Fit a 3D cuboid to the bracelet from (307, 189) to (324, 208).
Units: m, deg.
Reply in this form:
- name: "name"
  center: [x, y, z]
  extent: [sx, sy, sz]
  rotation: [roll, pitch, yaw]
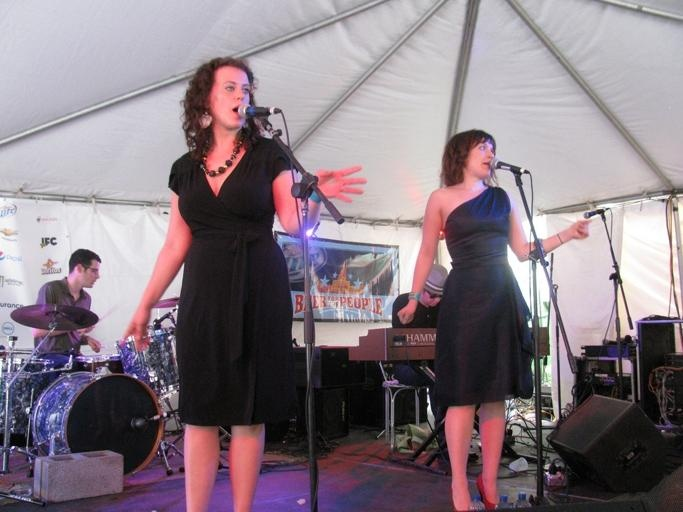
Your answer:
- name: "bracelet"
  center: [-0.150, -0.320, 3.409]
  extent: [0.066, 0.055, 0.069]
  rotation: [-17, -43, 1]

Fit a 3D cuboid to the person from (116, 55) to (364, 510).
- name: "person"
  center: [-0.655, 0.099, 3.516]
  extent: [0.905, 2.585, 0.262]
  rotation: [-2, -8, 8]

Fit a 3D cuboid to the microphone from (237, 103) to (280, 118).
- name: "microphone"
  center: [-0.484, -0.824, 3.593]
  extent: [0.297, 0.092, 0.085]
  rotation: [7, -40, 31]

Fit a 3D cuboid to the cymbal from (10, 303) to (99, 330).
- name: "cymbal"
  center: [-2.701, 0.584, 5.879]
  extent: [0.433, 0.107, 0.444]
  rotation: [-15, -27, 28]

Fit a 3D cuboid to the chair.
- name: "chair"
  center: [0.704, 1.627, 7.203]
  extent: [0.413, 0.951, 0.499]
  rotation: [-6, -1, -8]

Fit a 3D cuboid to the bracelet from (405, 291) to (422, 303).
- name: "bracelet"
  center: [0.516, 0.288, 4.403]
  extent: [0.073, 0.047, 0.071]
  rotation: [4, -17, 0]

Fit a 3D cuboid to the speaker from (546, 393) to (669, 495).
- name: "speaker"
  center: [2.135, 1.439, 5.044]
  extent: [0.771, 0.784, 0.867]
  rotation: [14, -13, -14]

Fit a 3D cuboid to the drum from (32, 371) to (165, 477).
- name: "drum"
  center: [-2.214, 1.535, 5.625]
  extent: [0.548, 0.911, 0.898]
  rotation: [-9, -6, 42]

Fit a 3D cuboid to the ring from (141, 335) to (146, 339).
- name: "ring"
  center: [-1.156, 0.468, 3.604]
  extent: [0.023, 0.023, 0.006]
  rotation: [2, 0, -33]

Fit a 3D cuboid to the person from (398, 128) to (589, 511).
- name: "person"
  center: [0.919, 0.351, 4.250]
  extent: [0.941, 2.622, 0.451]
  rotation: [-2, -8, 5]

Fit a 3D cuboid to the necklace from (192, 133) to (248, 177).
- name: "necklace"
  center: [-0.684, -0.564, 3.505]
  extent: [0.042, 0.226, 0.189]
  rotation: [30, 4, -27]

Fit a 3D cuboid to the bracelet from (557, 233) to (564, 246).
- name: "bracelet"
  center: [1.558, -0.119, 4.443]
  extent: [0.019, 0.074, 0.079]
  rotation: [-13, -27, 2]
